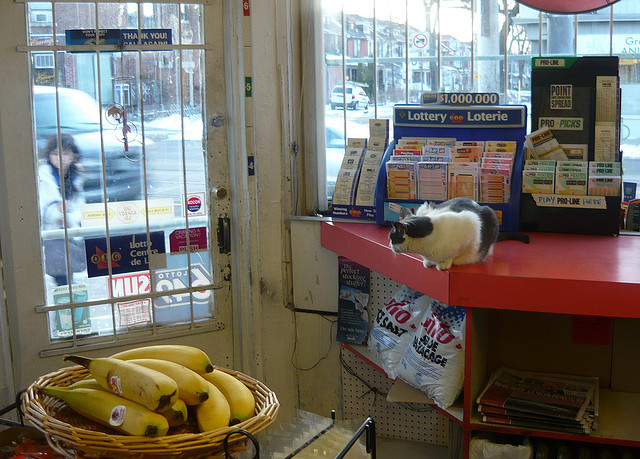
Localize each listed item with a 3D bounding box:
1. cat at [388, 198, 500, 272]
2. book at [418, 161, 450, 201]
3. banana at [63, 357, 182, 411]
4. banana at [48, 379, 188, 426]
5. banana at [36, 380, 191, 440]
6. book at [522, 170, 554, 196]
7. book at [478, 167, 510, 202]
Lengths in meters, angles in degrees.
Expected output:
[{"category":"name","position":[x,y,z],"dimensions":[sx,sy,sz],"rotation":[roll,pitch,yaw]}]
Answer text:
[{"category":"cat","position":[0.527,0.016,2.367],"dimensions":[0.430,0.205,0.242],"rotation":[-35,19,-26]},{"category":"book","position":[0.532,-0.223,2.734],"dimensions":[0.146,0.208,0.026],"rotation":[4,28,21]},{"category":"banana","position":[-0.686,0.479,1.908],"dimensions":[0.488,0.132,0.109],"rotation":[12,3,28]},{"category":"banana","position":[-0.646,0.542,1.765],"dimensions":[0.403,0.145,0.102],"rotation":[23,-8,-33]},{"category":"banana","position":[-0.695,0.557,1.872],"dimensions":[0.509,0.168,0.142],"rotation":[8,24,18]},{"category":"book","position":[1.006,-0.216,2.647],"dimensions":[0.108,0.102,0.016],"rotation":[1,7,17]},{"category":"book","position":[0.799,-0.228,2.732],"dimensions":[0.178,0.189,0.138],"rotation":[5,17,24]}]
